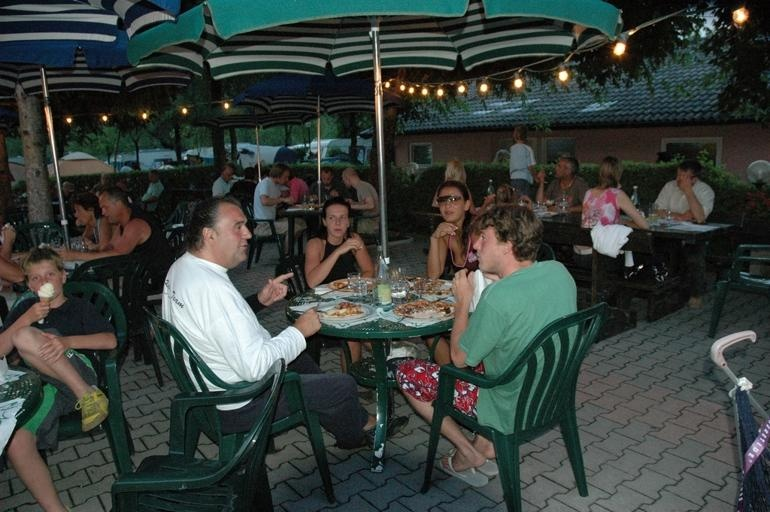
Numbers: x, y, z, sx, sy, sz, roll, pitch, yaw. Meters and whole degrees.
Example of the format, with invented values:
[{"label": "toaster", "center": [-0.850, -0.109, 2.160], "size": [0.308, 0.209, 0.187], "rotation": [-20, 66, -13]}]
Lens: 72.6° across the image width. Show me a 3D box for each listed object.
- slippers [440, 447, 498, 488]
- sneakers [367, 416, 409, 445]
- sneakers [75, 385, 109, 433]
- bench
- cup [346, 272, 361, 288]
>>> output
[{"label": "slippers", "center": [0.650, 1.695, 4.163], "size": [0.224, 0.095, 0.321], "rotation": [-18, 18, -40]}, {"label": "sneakers", "center": [0.000, 1.520, 4.655], "size": [0.148, 0.181, 0.477], "rotation": [10, 18, 34]}, {"label": "sneakers", "center": [-2.230, 1.183, 4.013], "size": [0.187, 0.158, 0.357], "rotation": [-41, 45, 7]}, {"label": "bench", "center": [2.747, 0.141, 6.317], "size": [0.680, 0.596, 1.242], "rotation": [-28, 33, -36]}, {"label": "cup", "center": [-0.292, 0.225, 4.677], "size": [0.122, 0.121, 0.119], "rotation": [-1, 2, 0]}]
